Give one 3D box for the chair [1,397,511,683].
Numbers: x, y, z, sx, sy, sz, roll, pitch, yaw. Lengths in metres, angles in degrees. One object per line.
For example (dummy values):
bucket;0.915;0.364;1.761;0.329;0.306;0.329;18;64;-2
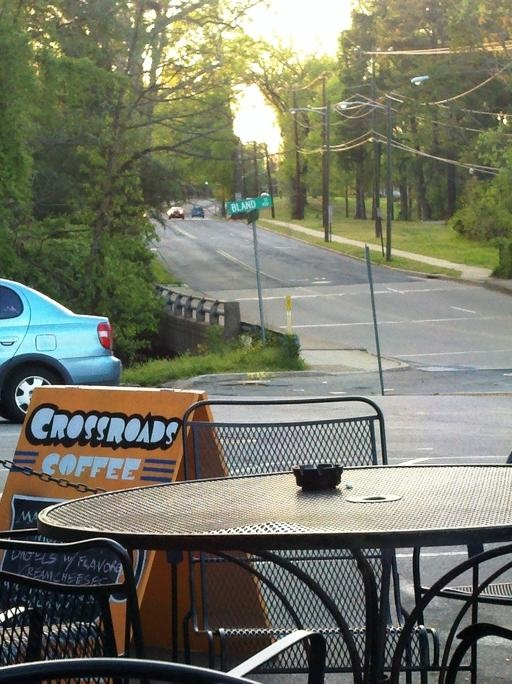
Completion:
chair;-0.039;0.732;3.824;1.026;0.709;0.989;4;7;41
